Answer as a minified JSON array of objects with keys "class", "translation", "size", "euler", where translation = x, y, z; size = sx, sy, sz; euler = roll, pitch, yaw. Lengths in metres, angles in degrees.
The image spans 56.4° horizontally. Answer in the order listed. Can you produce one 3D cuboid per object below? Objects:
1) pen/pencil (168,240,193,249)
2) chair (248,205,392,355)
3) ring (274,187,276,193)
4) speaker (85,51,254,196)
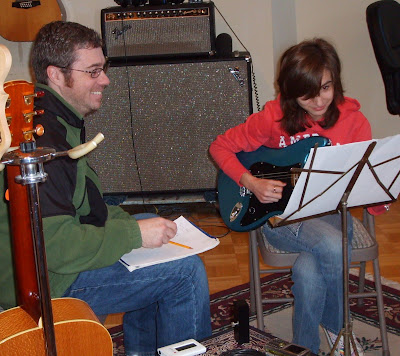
[{"class":"pen/pencil","translation":[-0.064,0.222,1.234],"size":[0.111,0.011,0.011],"euler":[11,47,31]},{"class":"chair","translation":[0.470,0.421,1.505],"size":[0.501,0.667,0.491],"euler":[-5,40,-3]},{"class":"ring","translation":[0.303,0.050,1.524],"size":[0.011,0.017,0.008],"euler":[3,17,12]},{"class":"speaker","translation":[-0.191,-0.411,2.480],"size":[1.267,0.942,0.441],"euler":[-1,18,1]}]
